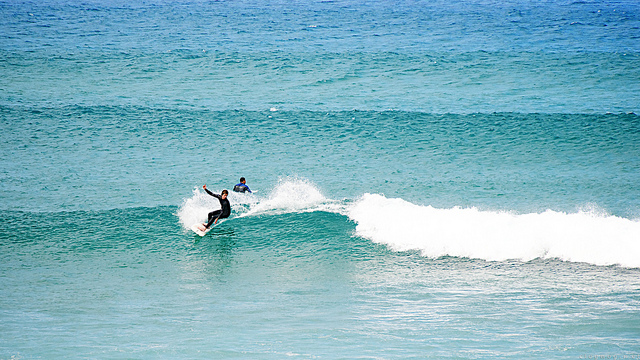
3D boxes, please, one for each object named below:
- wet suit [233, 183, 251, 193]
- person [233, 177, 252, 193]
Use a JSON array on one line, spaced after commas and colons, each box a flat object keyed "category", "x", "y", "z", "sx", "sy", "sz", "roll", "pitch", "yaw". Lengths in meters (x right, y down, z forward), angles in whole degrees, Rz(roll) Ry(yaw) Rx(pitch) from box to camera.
[{"category": "wet suit", "x": -5.752, "y": 0.691, "z": 65.308, "sx": 1.066, "sy": 0.756, "sz": 0.905, "roll": -16, "pitch": 65, "yaw": -7}, {"category": "person", "x": -5.741, "y": 0.461, "z": 66.083, "sx": 1.922, "sy": 0.791, "sz": 0.824, "roll": 6, "pitch": 104, "yaw": 5}]
